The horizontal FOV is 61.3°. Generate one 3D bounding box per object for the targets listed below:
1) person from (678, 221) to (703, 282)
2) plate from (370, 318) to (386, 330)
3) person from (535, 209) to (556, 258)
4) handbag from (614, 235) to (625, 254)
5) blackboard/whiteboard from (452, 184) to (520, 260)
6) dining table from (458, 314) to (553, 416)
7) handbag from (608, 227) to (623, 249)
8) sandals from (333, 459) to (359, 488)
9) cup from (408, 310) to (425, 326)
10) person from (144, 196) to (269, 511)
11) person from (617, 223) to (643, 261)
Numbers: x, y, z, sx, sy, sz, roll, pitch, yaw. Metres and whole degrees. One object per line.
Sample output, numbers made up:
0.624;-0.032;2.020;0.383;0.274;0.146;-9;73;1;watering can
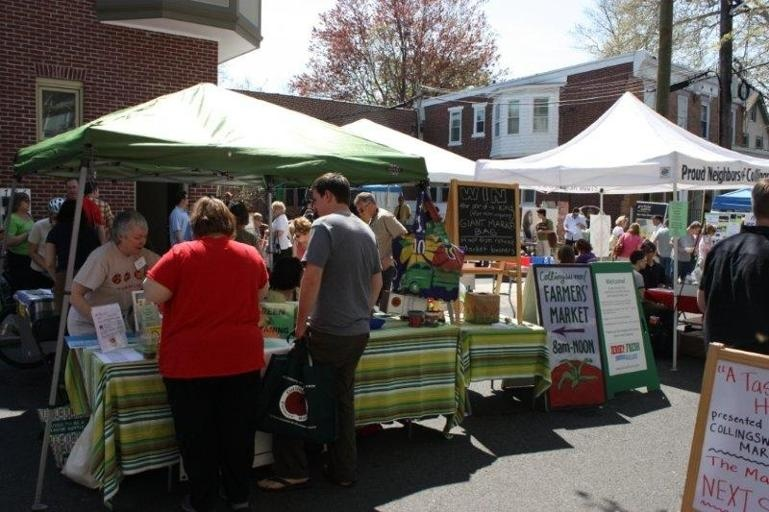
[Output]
6.197;-0.110;13.228;0.357;0.390;1.102;17;-20;30;person
-0.091;0.707;6.751;0.115;0.055;0.114;-3;4;-45;plate
4.036;-0.450;16.740;0.442;1.508;0.443;-13;18;-30;person
4.793;-0.252;13.325;0.166;0.390;0.355;10;11;17;handbag
1.182;-0.399;7.873;0.821;1.074;0.408;1;-6;-25;blackboard/whiteboard
1.268;1.182;7.404;0.973;0.805;1.002;1;-5;-26;dining table
5.572;-0.447;15.773;0.201;0.509;0.484;6;11;-14;handbag
-0.371;2.075;6.205;0.226;0.245;0.218;1;2;13;sandals
0.331;0.657;6.894;0.162;0.151;0.133;1;-3;-30;cup
-1.468;0.935;5.584;0.956;2.730;0.553;-6;14;-29;person
5.053;-0.294;13.509;0.455;0.781;0.276;25;-17;-3;person
